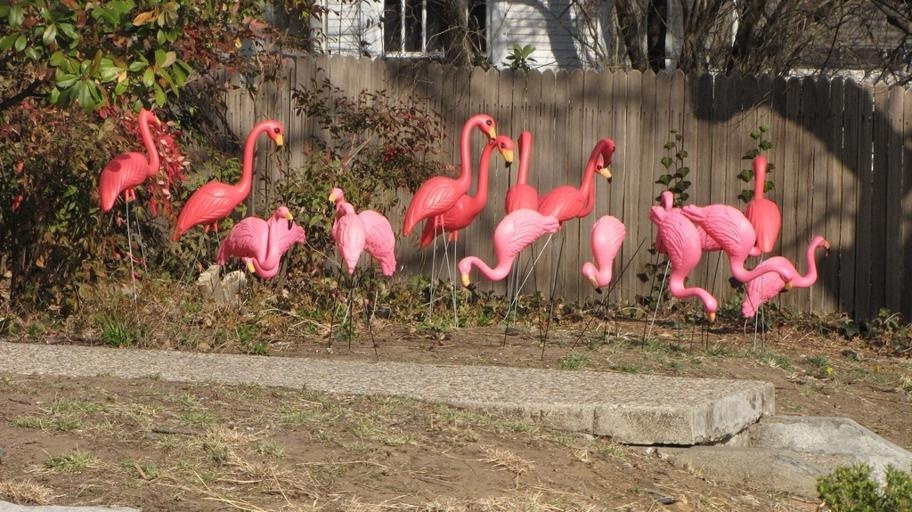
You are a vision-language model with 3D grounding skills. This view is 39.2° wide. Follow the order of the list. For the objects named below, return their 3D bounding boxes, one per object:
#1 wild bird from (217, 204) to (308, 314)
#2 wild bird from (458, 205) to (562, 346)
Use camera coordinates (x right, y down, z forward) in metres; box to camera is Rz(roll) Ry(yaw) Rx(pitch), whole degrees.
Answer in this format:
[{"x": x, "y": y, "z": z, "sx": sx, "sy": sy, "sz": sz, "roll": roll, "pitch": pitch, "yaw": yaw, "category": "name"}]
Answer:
[{"x": -2.484, "y": -0.209, "z": 16.293, "sx": 1.060, "sy": 0.889, "sz": 0.458, "roll": 1, "pitch": 7, "yaw": 19, "category": "wild bird"}, {"x": 0.682, "y": -0.141, "z": 15.948, "sx": 1.395, "sy": 0.878, "sz": 0.250, "roll": -5, "pitch": 8, "yaw": -24, "category": "wild bird"}]
